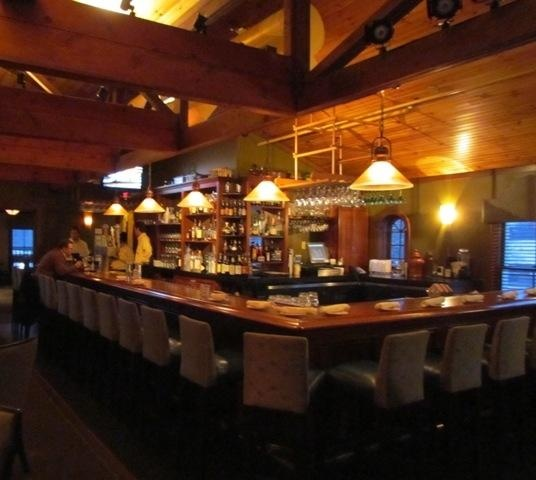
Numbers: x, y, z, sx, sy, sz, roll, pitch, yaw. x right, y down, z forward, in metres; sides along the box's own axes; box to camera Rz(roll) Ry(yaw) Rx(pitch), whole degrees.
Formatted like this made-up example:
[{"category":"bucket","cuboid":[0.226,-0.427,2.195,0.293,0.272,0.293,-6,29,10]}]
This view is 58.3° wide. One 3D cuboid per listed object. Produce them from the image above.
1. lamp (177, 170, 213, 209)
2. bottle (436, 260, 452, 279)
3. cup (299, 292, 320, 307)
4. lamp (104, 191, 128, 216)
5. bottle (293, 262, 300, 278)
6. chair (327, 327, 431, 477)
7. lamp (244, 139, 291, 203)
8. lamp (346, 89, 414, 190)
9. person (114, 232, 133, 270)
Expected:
[{"category":"lamp","cuboid":[-0.945,-0.634,6.273,0.454,0.470,0.458,-3,-7,19]},{"category":"bottle","cuboid":[2.780,0.490,7.652,0.201,0.320,0.330,4,-6,-28]},{"category":"cup","cuboid":[0.340,0.508,4.029,0.153,0.118,0.286,-2,14,1]},{"category":"lamp","cuboid":[-2.652,-0.621,8.313,0.310,0.358,1.284,-7,15,-18]},{"category":"bottle","cuboid":[0.459,0.480,7.664,0.162,0.174,0.159,0,-5,4]},{"category":"chair","cuboid":[0.920,1.114,3.586,0.720,1.079,0.505,-15,19,-39]},{"category":"lamp","cuboid":[-0.026,-0.702,5.381,0.719,0.421,0.705,1,-2,-6]},{"category":"lamp","cuboid":[1.014,-0.899,4.316,0.531,0.834,0.527,2,2,43]},{"category":"person","cuboid":[-2.887,0.178,9.527,0.384,0.720,1.102,-7,15,-16]}]
